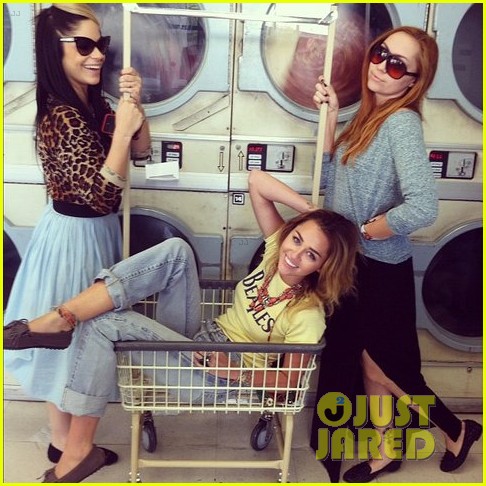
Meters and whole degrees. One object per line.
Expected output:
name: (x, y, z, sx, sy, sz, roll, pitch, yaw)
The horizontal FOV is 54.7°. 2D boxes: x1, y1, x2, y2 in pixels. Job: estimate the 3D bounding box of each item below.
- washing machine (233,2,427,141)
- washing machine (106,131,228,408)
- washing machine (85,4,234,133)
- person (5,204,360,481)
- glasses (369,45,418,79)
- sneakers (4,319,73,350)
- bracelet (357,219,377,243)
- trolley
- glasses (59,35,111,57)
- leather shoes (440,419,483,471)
washing machine: (0.338, -0.625, 2.310, 0.927, 0.790, 0.470, 0, 9, -10)
washing machine: (-0.298, 0.232, 1.787, 0.458, 0.315, 0.624, 0, 27, -10)
washing machine: (-0.316, -0.674, 2.280, 0.855, 0.732, 0.420, 1, 10, -2)
person: (0.112, 0.283, 1.830, 1.669, 0.933, 0.714, 1, 13, -4)
glasses: (0.509, -0.631, 1.641, 0.126, 0.056, 0.146, 33, 5, 16)
sneakers: (-0.694, 0.319, 1.614, 0.257, 0.085, 0.088, 6, 7, -13)
bracelet: (0.443, -0.044, 1.720, 0.041, 0.076, 0.057, 52, 33, 0)
trolley: (-0.080, 0.571, 1.882, 0.964, 0.723, 0.693, 0, 0, -4)
glasses: (-0.577, -0.746, 1.771, 0.114, 0.042, 0.117, 13, 18, 40)
leather shoes: (0.945, 0.886, 2.047, 0.098, 0.232, 0.082, 26, 10, -2)
